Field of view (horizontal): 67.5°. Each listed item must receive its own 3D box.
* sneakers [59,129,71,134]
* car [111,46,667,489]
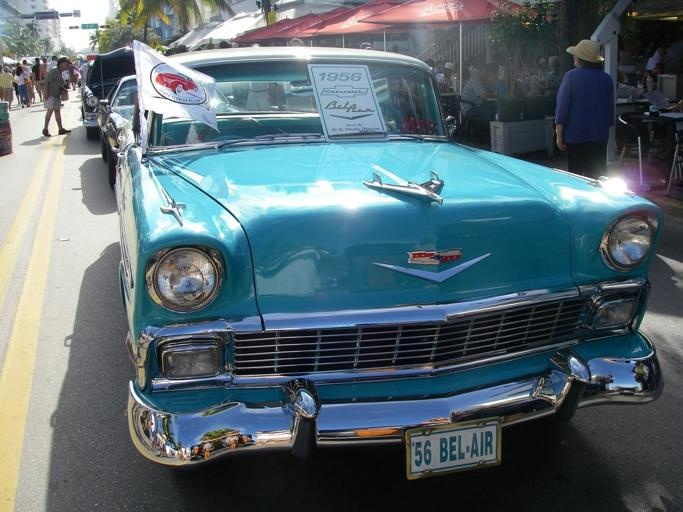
[{"bbox_3d":[-8.790,-3.921,16.072,0.373,0.174,0.144,-3,13,-14],"label":"sneakers"},{"bbox_3d":[-0.204,-0.069,3.718,2.057,1.443,3.689,-1,22,-14],"label":"car"}]
